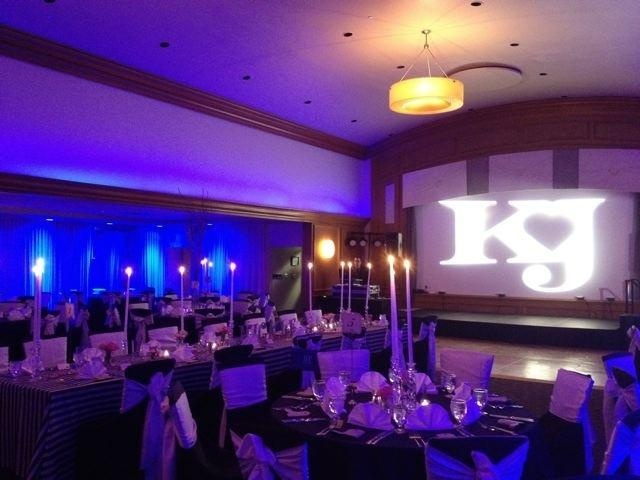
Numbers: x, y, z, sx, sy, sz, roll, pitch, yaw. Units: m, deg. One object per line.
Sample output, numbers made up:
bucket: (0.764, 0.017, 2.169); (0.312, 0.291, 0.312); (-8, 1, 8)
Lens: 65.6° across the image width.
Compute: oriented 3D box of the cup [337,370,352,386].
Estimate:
cup: (0.215, 1.178, 4.267); (0.106, 0.159, 0.100); (0, 0, 0)

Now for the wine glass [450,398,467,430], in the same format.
wine glass: (1.063, 1.306, 3.775); (0.117, 0.221, 0.250); (-3, -5, 16)

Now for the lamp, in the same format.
lamp: (1.638, -2.659, 7.637); (1.136, 1.280, 1.147); (4, -12, -3)

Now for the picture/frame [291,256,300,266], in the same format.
picture/frame: (-0.618, 0.561, 13.064); (0.239, 0.272, 0.271); (1, -2, 14)
